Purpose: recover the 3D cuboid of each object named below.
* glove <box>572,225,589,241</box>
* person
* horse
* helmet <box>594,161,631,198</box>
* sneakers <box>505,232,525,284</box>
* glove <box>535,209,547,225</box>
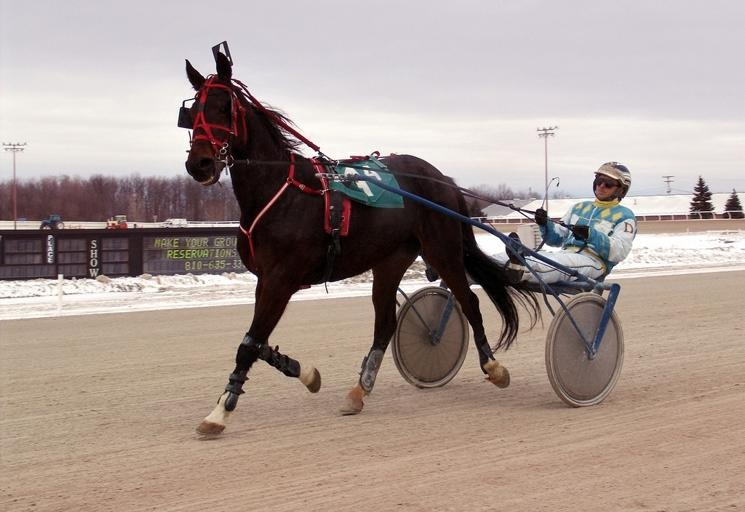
[{"bbox_3d":[1.763,-0.184,5.544,0.102,0.103,0.125,0,-21,21],"label":"glove"},{"bbox_3d":[1.683,-0.278,5.977,1.787,1.153,0.883,-1,4,-27],"label":"person"},{"bbox_3d":[0.018,0.051,5.646,4.069,2.569,0.885,3,-13,-40],"label":"horse"},{"bbox_3d":[2.245,-0.708,6.041,0.322,0.260,0.288,12,26,2],"label":"helmet"},{"bbox_3d":[1.270,0.043,5.827,0.143,0.484,0.164,-2,14,-1],"label":"sneakers"},{"bbox_3d":[1.491,-0.335,5.765,0.105,0.145,0.050,2,2,29],"label":"glove"}]
